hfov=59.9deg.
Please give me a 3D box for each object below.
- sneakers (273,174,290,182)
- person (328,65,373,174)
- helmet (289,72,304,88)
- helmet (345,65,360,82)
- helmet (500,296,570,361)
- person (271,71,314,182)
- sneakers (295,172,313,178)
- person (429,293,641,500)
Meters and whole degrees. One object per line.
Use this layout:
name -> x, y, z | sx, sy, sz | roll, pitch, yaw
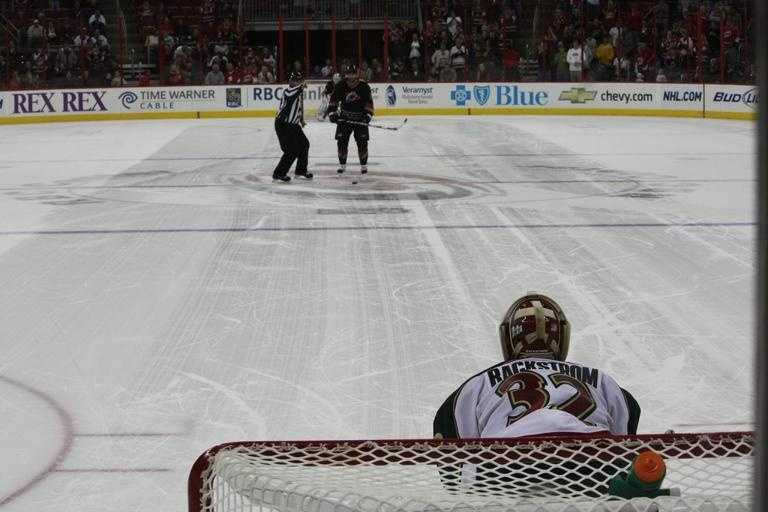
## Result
sneakers -> -1.752, -1.330, 11.462 | 0.327, 0.106, 0.116 | 2, 14, 20
person -> -0.620, -2.466, 12.006 | 0.806, 1.981, 0.986 | -2, 4, -4
helmet -> -1.474, -2.962, 11.123 | 0.278, 0.234, 0.275 | 3, -11, 4
helmet -> -0.565, -3.244, 11.855 | 0.320, 0.289, 0.350 | -1, -4, 0
helmet -> 0.593, 0.295, 2.845 | 0.316, 0.231, 0.310 | -1, 11, 3
person -> -1.611, -2.227, 11.596 | 0.683, 1.912, 1.179 | -2, 4, -6
sneakers -> -1.436, -1.430, 11.808 | 0.362, 0.116, 0.117 | -1, 8, 21
person -> 0.601, 0.597, 2.729 | 0.742, 0.655, 0.762 | 9, 53, -6
